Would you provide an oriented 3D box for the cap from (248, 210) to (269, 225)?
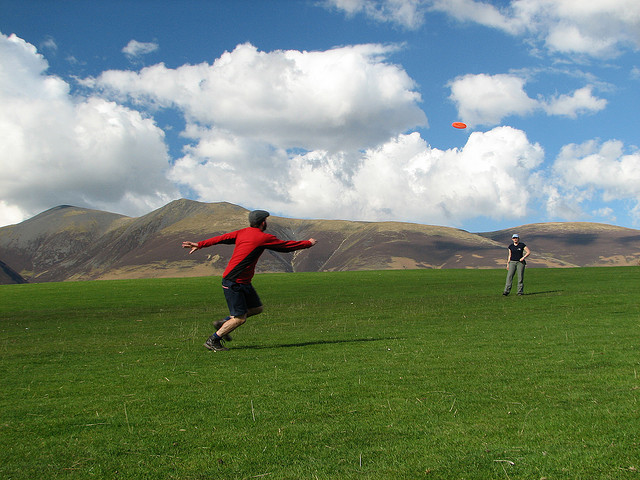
[{"bbox_3d":[-1.783,-0.638,13.959,0.564,0.386,0.470,0,0,3],"label":"cap"}]
